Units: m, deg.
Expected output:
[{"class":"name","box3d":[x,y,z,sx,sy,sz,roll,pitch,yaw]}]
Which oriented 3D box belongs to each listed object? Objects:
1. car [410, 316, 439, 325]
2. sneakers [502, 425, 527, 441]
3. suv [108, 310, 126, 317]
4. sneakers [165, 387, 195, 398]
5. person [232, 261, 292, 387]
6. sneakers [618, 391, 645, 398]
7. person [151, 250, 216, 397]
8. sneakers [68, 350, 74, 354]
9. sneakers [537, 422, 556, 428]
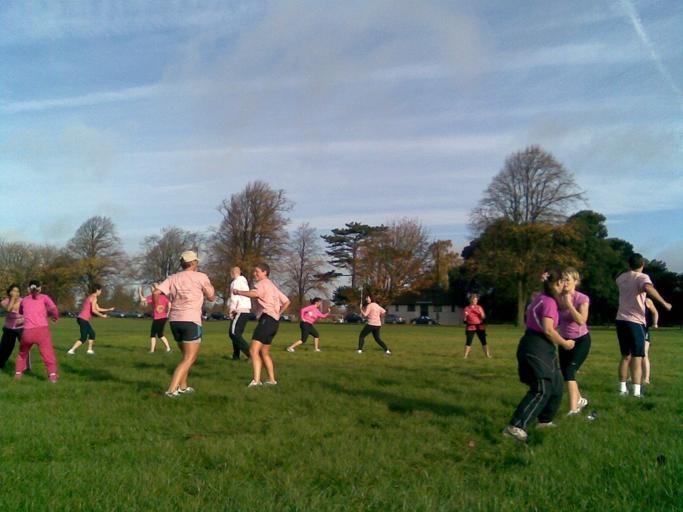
[{"class":"car","box3d":[9.578,7.613,79.600,2.180,0.594,1.285,3,-7,12]},{"class":"sneakers","box3d":[2.515,2.575,9.856,0.375,0.171,0.157,8,3,30]},{"class":"suv","box3d":[-30.169,7.549,91.488,3.073,1.042,1.383,-5,-7,21]},{"class":"sneakers","box3d":[-2.925,2.468,12.283,0.525,0.213,0.190,-3,2,-26]},{"class":"person","box3d":[-1.531,1.335,13.618,0.767,2.415,1.020,1,-4,3]},{"class":"sneakers","box3d":[5.366,2.581,12.595,0.158,0.196,0.449,12,-22,-29]},{"class":"person","box3d":[-2.885,1.204,12.503,0.999,2.655,1.424,2,-4,-14]},{"class":"sneakers","box3d":[-7.523,2.666,18.901,0.109,0.127,0.309,0,-5,5]},{"class":"sneakers","box3d":[3.127,2.596,10.422,0.311,0.119,0.101,-4,-21,2]}]
